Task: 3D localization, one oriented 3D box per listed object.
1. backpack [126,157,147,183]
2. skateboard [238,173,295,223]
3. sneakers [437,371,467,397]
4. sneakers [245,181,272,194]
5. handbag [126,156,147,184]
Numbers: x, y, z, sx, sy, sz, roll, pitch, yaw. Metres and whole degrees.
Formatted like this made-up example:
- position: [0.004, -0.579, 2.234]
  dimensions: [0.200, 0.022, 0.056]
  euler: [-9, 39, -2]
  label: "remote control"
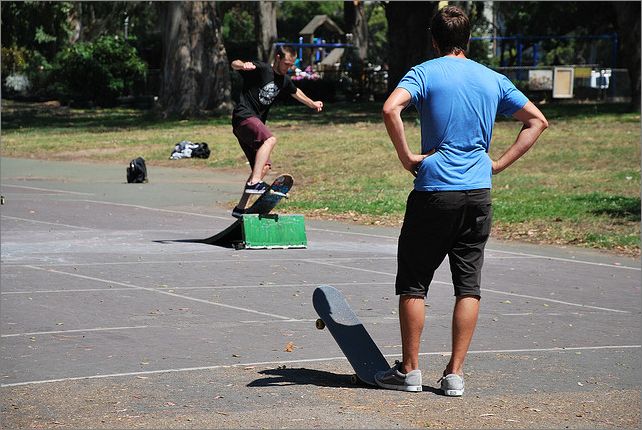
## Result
- position: [-4.246, -1.034, 26.079]
  dimensions: [0.465, 0.575, 0.537]
  euler: [0, 7, -16]
  label: "backpack"
- position: [-0.860, -0.275, 18.739]
  dimensions: [0.406, 0.179, 1.368]
  euler: [14, -28, -29]
  label: "skateboard"
- position: [1.590, 2.021, 13.600]
  dimensions: [0.316, 0.274, 0.197]
  euler: [2, 6, 3]
  label: "sneakers"
- position: [-0.994, -0.460, 19.002]
  dimensions: [0.549, 0.189, 0.182]
  euler: [-3, 13, -18]
  label: "sneakers"
- position: [-4.229, -1.030, 26.049]
  dimensions: [0.477, 0.575, 0.517]
  euler: [0, 7, -10]
  label: "handbag"
